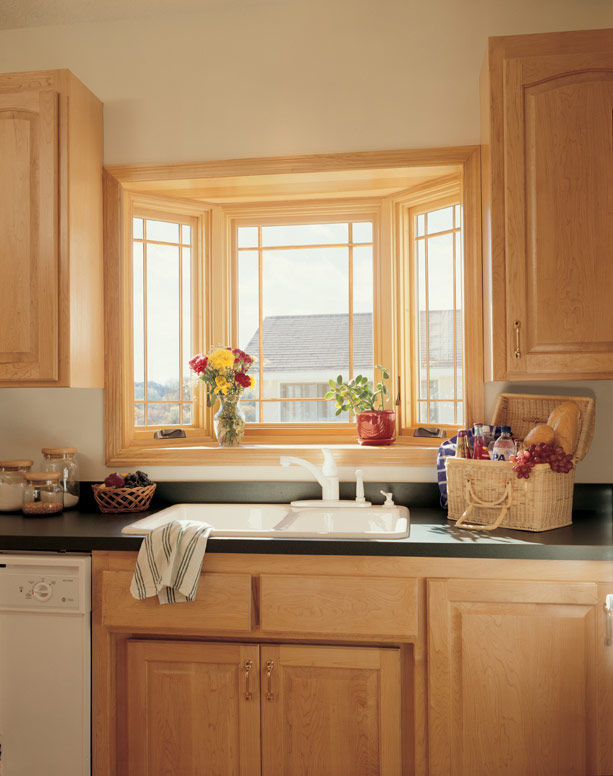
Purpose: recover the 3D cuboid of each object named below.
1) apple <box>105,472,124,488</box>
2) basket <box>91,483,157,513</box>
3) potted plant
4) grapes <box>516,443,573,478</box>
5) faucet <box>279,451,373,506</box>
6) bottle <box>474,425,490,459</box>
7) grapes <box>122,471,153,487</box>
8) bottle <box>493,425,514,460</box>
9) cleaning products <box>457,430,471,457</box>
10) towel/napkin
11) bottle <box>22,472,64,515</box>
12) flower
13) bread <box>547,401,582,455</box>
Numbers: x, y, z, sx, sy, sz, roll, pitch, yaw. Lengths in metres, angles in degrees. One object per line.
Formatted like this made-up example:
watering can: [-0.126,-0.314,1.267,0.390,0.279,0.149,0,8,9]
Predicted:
apple: [-0.657,0.309,2.614,0.052,0.045,0.048,3,5,1]
basket: [-0.631,0.375,2.616,0.134,0.048,0.127,2,-3,-33]
potted plant: [0.207,0.064,2.913,0.266,0.281,0.262,-2,3,1]
grapes: [0.703,0.209,2.244,0.214,0.095,0.067,-4,3,-28]
faucet: [0.066,0.304,2.631,0.292,0.189,0.190,-2,3,2]
bottle: [0.557,0.168,2.419,0.051,0.093,0.112,-2,3,14]
grapes: [-0.589,0.312,2.649,0.057,0.028,0.063,1,-2,28]
bottle: [0.596,0.176,2.309,0.070,0.072,0.118,-2,3,15]
cleaning products: [0.503,0.177,2.438,0.049,0.079,0.055,-2,3,5]
towel/napkin: [-0.374,0.485,2.105,0.231,0.213,0.101,3,-8,-3]
bottle: [-0.894,0.351,2.633,0.140,0.134,0.141,4,3,45]
flower: [-0.403,0.015,3.063,0.350,0.493,0.376,-3,1,-10]
bread: [0.820,0.124,2.407,0.111,0.162,0.063,-7,-27,28]
